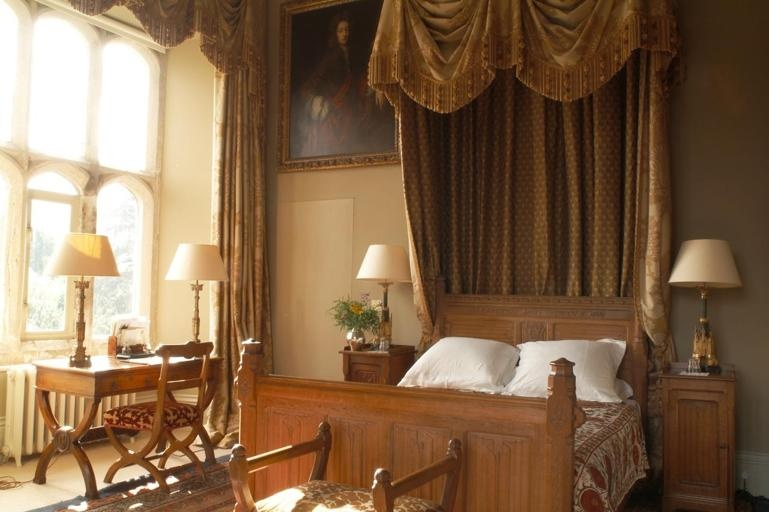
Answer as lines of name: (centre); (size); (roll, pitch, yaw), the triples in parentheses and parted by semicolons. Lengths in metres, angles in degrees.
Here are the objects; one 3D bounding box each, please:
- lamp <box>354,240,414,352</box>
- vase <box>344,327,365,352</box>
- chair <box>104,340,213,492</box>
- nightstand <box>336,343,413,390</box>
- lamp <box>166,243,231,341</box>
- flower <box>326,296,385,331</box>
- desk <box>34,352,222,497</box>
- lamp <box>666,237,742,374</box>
lamp: (-0.012, 0.419, 7.743); (0.874, 1.955, 1.036); (0, 2, -3)
vase: (-0.374, 0.902, 7.064); (0.218, 0.279, 0.215); (1, -2, -45)
chair: (-2.351, 1.598, 6.667); (0.817, 1.473, 1.006); (-1, -4, 18)
nightstand: (-0.101, 1.179, 7.028); (0.533, 0.617, 0.420); (-2, -5, 29)
lamp: (-2.233, 0.406, 7.464); (0.681, 1.180, 1.218); (-2, 5, -19)
flower: (-0.311, 0.640, 7.254); (0.416, 0.300, 0.414); (6, -3, -5)
desk: (-2.866, 1.747, 7.055); (0.886, 1.357, 1.767); (4, 0, 25)
lamp: (3.150, 0.437, 6.147); (0.723, 1.246, 0.534); (-4, 6, -37)
